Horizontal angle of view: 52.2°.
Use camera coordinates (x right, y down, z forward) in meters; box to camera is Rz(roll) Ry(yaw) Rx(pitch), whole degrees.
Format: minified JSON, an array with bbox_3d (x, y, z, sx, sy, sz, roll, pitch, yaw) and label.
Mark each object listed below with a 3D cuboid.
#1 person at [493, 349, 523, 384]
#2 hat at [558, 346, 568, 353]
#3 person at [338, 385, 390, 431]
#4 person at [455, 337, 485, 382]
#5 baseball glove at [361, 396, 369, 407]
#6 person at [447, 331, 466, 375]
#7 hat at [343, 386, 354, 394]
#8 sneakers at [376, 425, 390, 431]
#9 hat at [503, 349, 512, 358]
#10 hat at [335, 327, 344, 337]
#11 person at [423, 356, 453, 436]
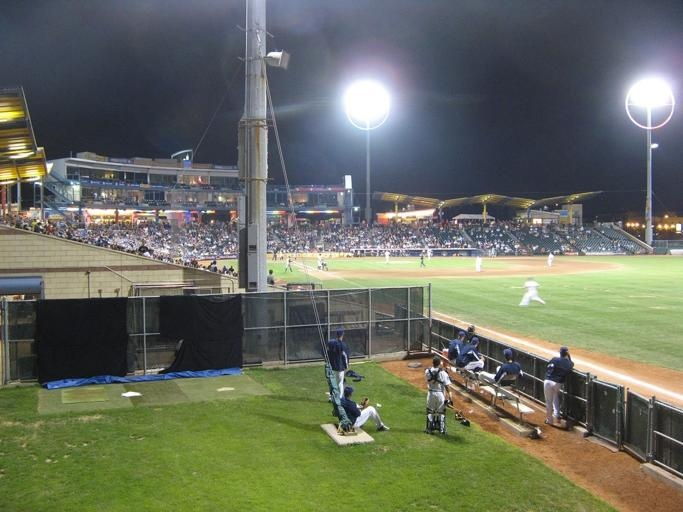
[{"bbox_3d":[4.851,3.214,20.394,1.012,1.090,0.605,-4,12,-18],"label":"person"},{"bbox_3d":[6.293,2.607,19.658,0.310,0.163,0.446,-1,-3,12],"label":"hat"},{"bbox_3d":[0.617,4.296,19.664,1.247,1.491,0.634,-17,20,-25],"label":"person"},{"bbox_3d":[4.091,3.142,22.038,0.839,1.216,0.901,11,-3,-15],"label":"person"},{"bbox_3d":[0.660,4.097,19.639,0.222,0.302,0.312,4,8,8],"label":"baseball glove"},{"bbox_3d":[3.877,3.055,22.824,0.795,1.232,0.518,-10,20,-32],"label":"person"},{"bbox_3d":[0.195,3.576,18.761,0.251,0.196,0.391,1,12,-1],"label":"hat"},{"bbox_3d":[1.132,4.660,19.058,0.336,0.143,0.130,-2,5,-4],"label":"sneakers"},{"bbox_3d":[4.882,2.873,20.403,0.237,0.202,0.384,-1,19,11],"label":"hat"},{"bbox_3d":[-0.096,2.210,20.378,0.228,0.287,0.285,2,6,7],"label":"hat"},{"bbox_3d":[2.652,3.670,19.031,0.706,2.122,1.159,3,12,9],"label":"person"}]
